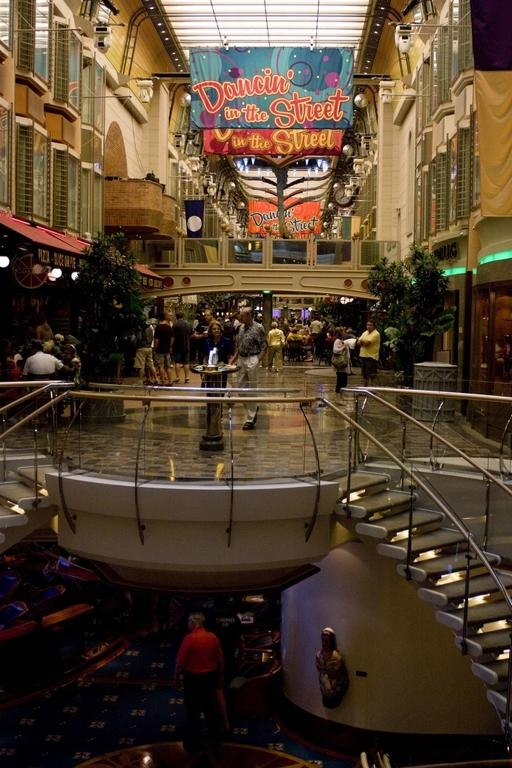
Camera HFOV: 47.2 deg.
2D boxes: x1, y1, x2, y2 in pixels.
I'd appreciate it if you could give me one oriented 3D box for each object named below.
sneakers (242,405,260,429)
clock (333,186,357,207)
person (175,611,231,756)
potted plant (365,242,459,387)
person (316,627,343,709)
[{"bbox_3d":[-0.050,0.284,4.878,0.073,0.207,0.280,1,-5,15],"label":"sneakers"},{"bbox_3d":[6.238,-13.413,41.316,1.575,1.739,0.379,-8,-19,23],"label":"clock"},{"bbox_3d":[-0.595,3.222,6.247,0.511,1.686,1.149,2,-4,-2],"label":"person"},{"bbox_3d":[3.567,-1.798,14.001,1.869,3.156,2.015,-28,30,-18],"label":"potted plant"},{"bbox_3d":[0.803,3.229,6.574,0.274,0.917,0.375,5,-5,-35],"label":"person"}]
